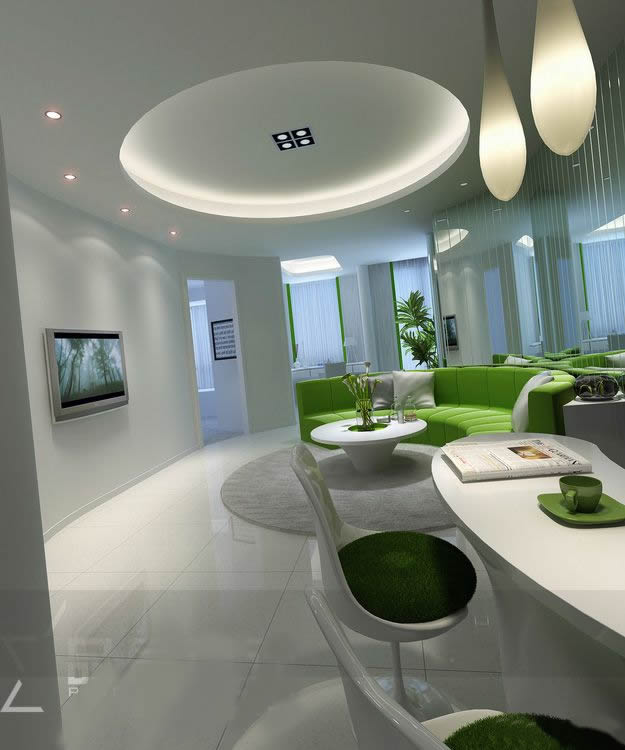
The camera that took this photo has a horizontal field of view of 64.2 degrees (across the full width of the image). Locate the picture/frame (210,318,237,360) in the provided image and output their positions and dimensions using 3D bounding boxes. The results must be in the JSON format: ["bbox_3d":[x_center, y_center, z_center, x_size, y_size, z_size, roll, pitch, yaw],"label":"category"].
[{"bbox_3d":[-1.466,-0.621,8.302,0.564,0.958,0.084,-1,0,34],"label":"picture/frame"}]

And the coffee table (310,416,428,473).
[{"bbox_3d":[0.362,0.497,3.637,0.479,0.197,0.540,-5,6,13],"label":"coffee table"}]

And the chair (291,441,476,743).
[{"bbox_3d":[0.234,0.669,1.515,0.461,1.027,0.480,2,18,40],"label":"chair"}]

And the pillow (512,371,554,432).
[{"bbox_3d":[1.564,0.192,3.508,0.109,0.340,0.361,13,18,7],"label":"pillow"}]
